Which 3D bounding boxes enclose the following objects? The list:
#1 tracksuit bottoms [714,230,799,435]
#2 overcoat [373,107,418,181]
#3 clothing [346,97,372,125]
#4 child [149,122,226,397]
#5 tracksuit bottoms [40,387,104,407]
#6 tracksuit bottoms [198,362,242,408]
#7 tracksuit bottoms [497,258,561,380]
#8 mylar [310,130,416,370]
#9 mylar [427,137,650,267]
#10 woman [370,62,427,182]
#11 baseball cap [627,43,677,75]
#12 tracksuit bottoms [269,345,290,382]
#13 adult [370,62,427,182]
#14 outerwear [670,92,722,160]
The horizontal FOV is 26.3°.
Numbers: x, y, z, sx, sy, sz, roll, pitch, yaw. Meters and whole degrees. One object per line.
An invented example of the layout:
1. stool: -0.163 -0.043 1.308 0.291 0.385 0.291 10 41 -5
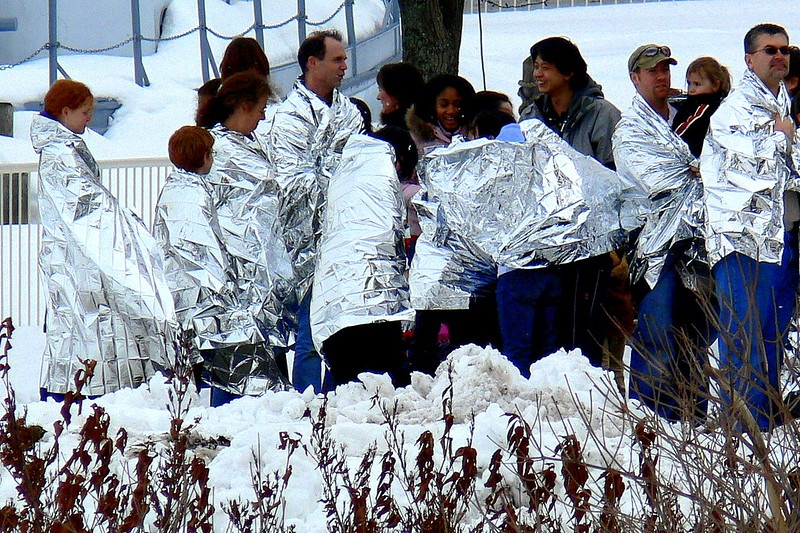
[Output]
1. tracksuit bottoms: 2.276 0.419 10.871 0.580 1.281 2.081 -1 0 10
2. overcoat: -0.006 -0.898 12.601 0.173 0.488 0.377 1 36 25
3. clothing: -0.300 -1.173 12.850 0.050 0.207 0.207 -20 39 -7
4. child: -1.500 -0.215 12.258 0.529 1.195 0.205 -1 1 -5
5. tracksuit bottoms: -2.491 0.904 12.131 0.701 0.074 0.475 0 1 36
6. tracksuit bottoms: -1.326 0.837 12.318 0.365 0.373 0.248 1 10 9
7. tracksuit bottoms: 0.900 0.372 11.978 0.454 0.757 0.160 -1 1 1
8. mylar: -0.295 -0.175 12.406 0.774 1.442 0.555 2 -7 -1
9. mylar: 1.110 -0.516 12.196 0.477 1.004 1.286 22 -17 -29
10. woman: -0.001 -0.958 12.751 0.381 1.064 0.356 1 0 32
11. baseball cap: 1.778 -1.478 12.150 0.202 0.148 0.288 -5 -10 -42
12. tracksuit bottoms: -0.874 0.686 12.513 0.053 0.202 0.221 -6 1 20
13. adult: -0.004 -0.927 12.781 0.404 1.144 0.387 5 3 26
14. outerwear: 2.048 -0.997 12.036 0.418 0.425 0.194 1 -4 43
